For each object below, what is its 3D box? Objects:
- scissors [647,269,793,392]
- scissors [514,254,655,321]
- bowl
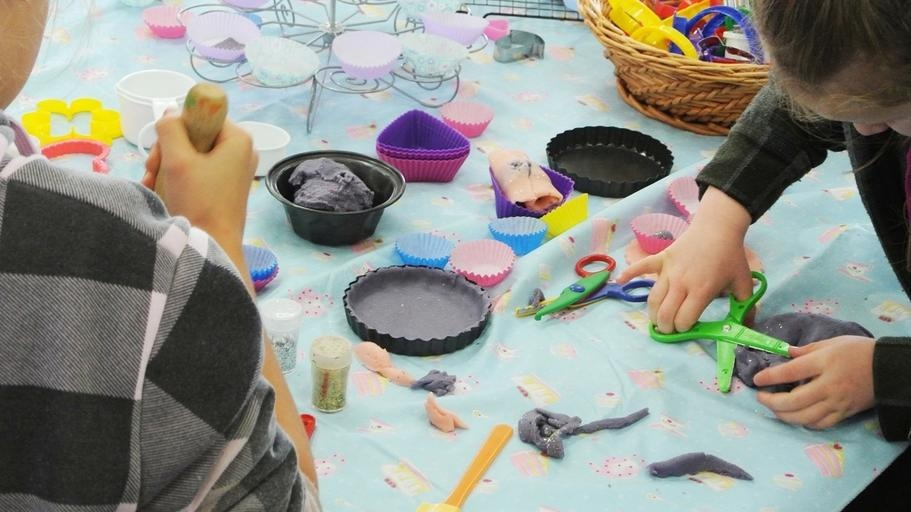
[{"bbox_3d":[0.508,0.131,1.291,0.190,0.021,0.183,-26,42,-5],"label":"scissors"},{"bbox_3d":[0.248,0.070,1.389,0.222,0.050,0.129,-21,43,-31],"label":"scissors"},{"bbox_3d":[-0.249,-0.118,1.470,0.240,0.091,0.225,8,40,-7],"label":"bowl"}]
